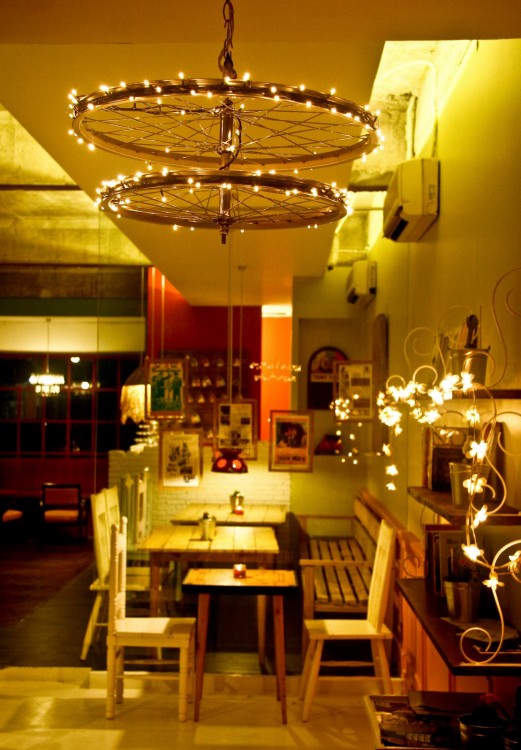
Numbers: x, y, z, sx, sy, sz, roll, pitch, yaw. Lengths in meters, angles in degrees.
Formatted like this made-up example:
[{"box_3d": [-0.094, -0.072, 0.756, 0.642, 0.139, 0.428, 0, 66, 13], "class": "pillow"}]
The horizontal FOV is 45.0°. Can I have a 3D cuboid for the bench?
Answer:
[{"box_3d": [0.554, 1.256, 4.345, 0.593, 0.702, 1.354, -1, 0, 1], "class": "bench"}]

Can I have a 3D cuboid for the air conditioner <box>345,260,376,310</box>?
[{"box_3d": [0.697, -0.616, 4.383, 0.149, 0.270, 0.301, 2, -17, -1], "class": "air conditioner"}]

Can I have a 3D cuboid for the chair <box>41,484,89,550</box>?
[{"box_3d": [-1.326, 0.927, 4.226, 0.335, 0.474, 0.368, -3, -18, -4], "class": "chair"}]

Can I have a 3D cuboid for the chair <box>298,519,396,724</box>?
[{"box_3d": [0.507, 1.377, 3.547, 0.481, 0.806, 0.448, 5, -17, -3], "class": "chair"}]
